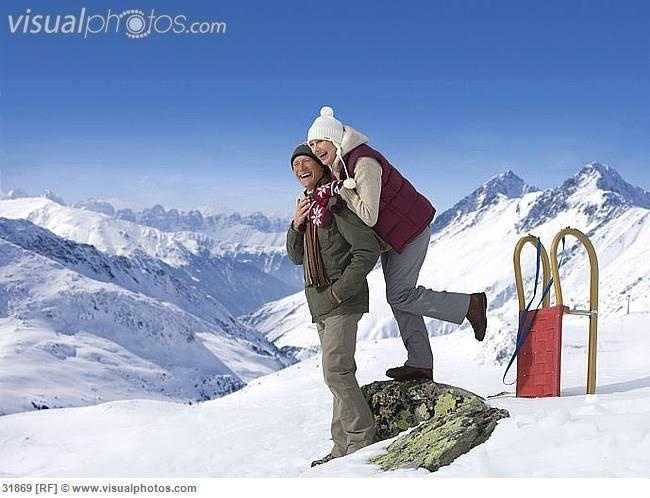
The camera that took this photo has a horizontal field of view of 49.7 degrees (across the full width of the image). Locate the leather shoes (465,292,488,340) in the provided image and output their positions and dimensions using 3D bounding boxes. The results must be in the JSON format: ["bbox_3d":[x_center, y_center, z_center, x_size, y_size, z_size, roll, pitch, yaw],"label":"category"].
[{"bbox_3d":[2.075,0.865,9.577,0.278,0.693,0.239,-6,12,2],"label":"leather shoes"}]

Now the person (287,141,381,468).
[{"bbox_3d":[0.153,0.696,9.230,1.293,4.301,0.695,-6,-8,20],"label":"person"}]

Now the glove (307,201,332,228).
[{"bbox_3d":[-0.059,-0.464,9.108,0.250,0.319,0.094,-18,-18,39],"label":"glove"}]

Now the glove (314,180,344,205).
[{"bbox_3d":[0.094,-0.725,9.223,0.127,0.350,0.291,48,-2,-32],"label":"glove"}]
